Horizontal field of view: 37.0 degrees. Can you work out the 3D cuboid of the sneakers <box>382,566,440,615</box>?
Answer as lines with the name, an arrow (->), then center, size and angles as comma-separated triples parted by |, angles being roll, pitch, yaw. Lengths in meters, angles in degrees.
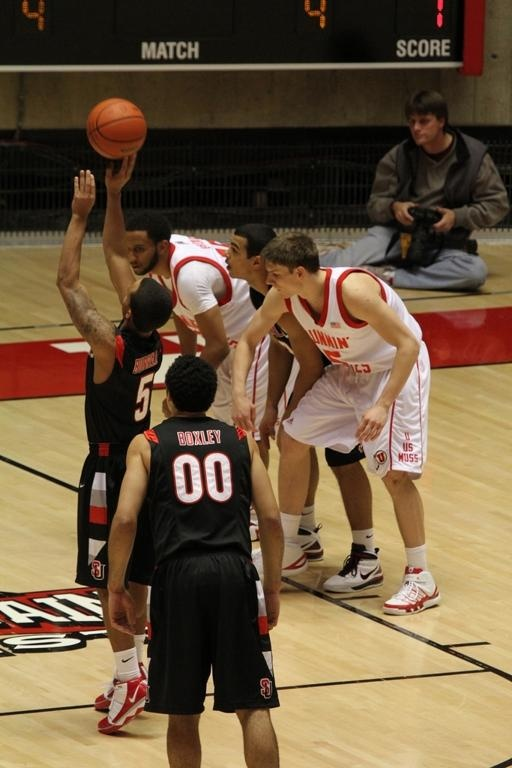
sneakers -> 0.507, 0.670, 2.515 | 0.246, 0.138, 0.090 | -1, -4, -40

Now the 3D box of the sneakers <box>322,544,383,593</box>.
sneakers -> 0.353, 0.649, 2.721 | 0.279, 0.171, 0.099 | -2, 0, -35

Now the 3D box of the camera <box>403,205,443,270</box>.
camera -> 1.379, -1.208, 6.375 | 0.300, 0.455, 0.484 | 2, 19, 1
